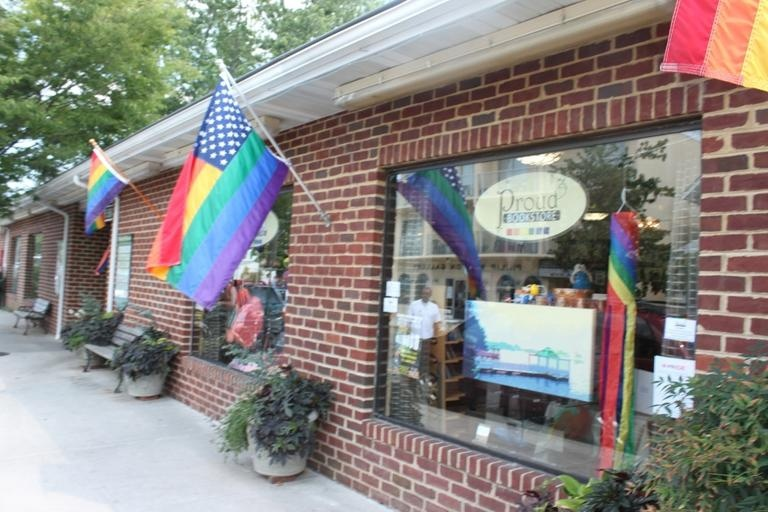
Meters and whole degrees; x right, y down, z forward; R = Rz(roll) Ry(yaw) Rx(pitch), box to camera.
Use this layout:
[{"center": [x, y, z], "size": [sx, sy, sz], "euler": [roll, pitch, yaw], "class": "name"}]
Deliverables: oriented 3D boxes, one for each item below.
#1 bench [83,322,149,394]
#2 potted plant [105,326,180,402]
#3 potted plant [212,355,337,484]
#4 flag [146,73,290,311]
[{"center": [-4.914, 1.664, 10.246], "size": [0.817, 0.782, 2.182], "euler": [-13, 12, -35], "class": "bench"}, {"center": [-3.716, 1.836, 8.994], "size": [0.822, 0.859, 0.915], "euler": [-4, -19, 1], "class": "potted plant"}, {"center": [-1.129, 2.023, 6.145], "size": [0.870, 0.756, 0.925], "euler": [2, -9, -25], "class": "potted plant"}, {"center": [-1.661, -0.654, 5.696], "size": [1.287, 1.672, 0.595], "euler": [3, 1, -13], "class": "flag"}]
